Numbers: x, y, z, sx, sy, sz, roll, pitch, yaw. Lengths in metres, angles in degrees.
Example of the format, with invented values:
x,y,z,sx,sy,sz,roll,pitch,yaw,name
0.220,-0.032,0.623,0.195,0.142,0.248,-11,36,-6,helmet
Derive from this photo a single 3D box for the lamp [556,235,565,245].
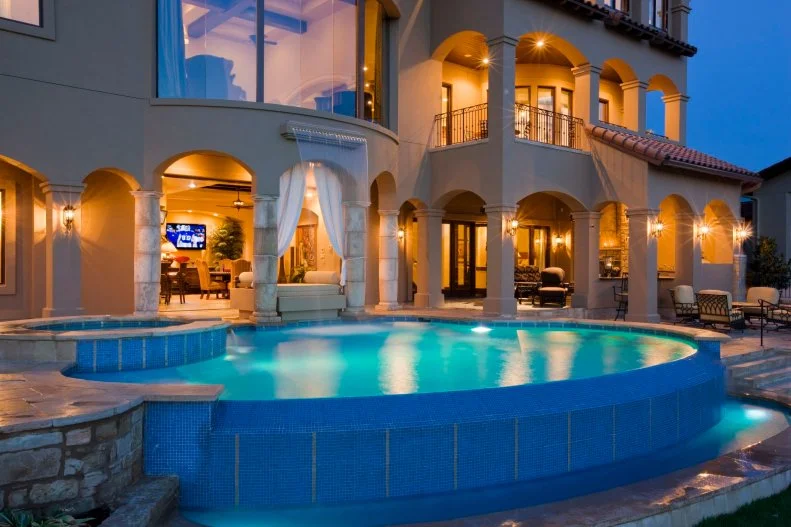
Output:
x,y,z,sx,sy,sz,roll,pitch,yaw,name
6.711,-0.965,26.967,0.376,0.387,0.122,0,1,-12,lamp

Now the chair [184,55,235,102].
x,y,z,sx,sy,sz,roll,pitch,yaw,name
-4.486,-4.496,15.931,1.012,1.022,1.032,-1,5,-12,chair

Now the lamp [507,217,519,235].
x,y,z,sx,sy,sz,roll,pitch,yaw,name
3.295,-1.009,18.483,0.205,0.488,0.757,-2,-4,22,lamp

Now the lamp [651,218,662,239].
x,y,z,sx,sy,sz,roll,pitch,yaw,name
7.595,-1.050,19.156,0.231,0.558,0.479,-4,-5,41,lamp

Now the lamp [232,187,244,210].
x,y,z,sx,sy,sz,roll,pitch,yaw,name
-5.944,-2.402,25.177,0.423,0.841,2.762,0,-4,-13,lamp

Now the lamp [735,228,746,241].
x,y,z,sx,sy,sz,roll,pitch,yaw,name
11.764,-1.016,22.574,0.467,0.486,0.132,5,0,24,lamp

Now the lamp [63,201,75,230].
x,y,z,sx,sy,sz,roll,pitch,yaw,name
-7.261,-1.045,14.731,0.251,0.585,0.130,2,-4,-27,lamp
